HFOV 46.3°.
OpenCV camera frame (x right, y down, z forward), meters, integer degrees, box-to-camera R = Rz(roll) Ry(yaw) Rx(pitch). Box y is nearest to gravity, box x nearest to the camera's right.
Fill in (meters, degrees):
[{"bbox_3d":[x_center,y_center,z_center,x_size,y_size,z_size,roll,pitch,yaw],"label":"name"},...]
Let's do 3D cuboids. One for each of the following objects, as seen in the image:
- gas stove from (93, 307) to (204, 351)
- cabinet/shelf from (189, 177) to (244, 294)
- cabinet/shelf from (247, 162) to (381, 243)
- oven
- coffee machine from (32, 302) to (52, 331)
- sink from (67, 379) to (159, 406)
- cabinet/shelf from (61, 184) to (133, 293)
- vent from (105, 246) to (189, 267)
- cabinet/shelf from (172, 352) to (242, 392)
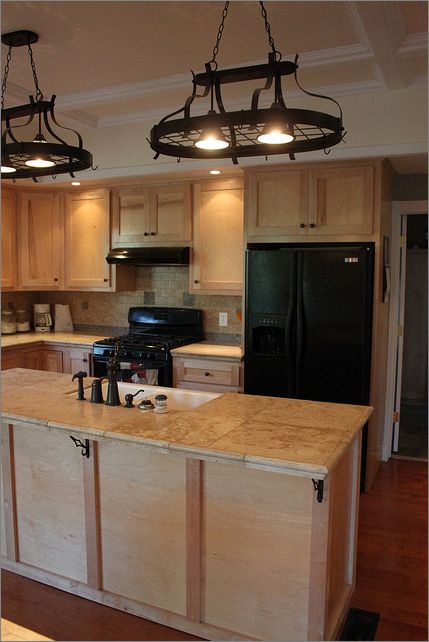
[{"bbox_3d":[-0.501,0.045,4.244,0.733,0.280,0.798,0,5,9],"label":"gas stove"},{"bbox_3d":[-0.065,-0.684,4.103,0.546,0.901,0.477,-3,14,-17],"label":"cabinet/shelf"},{"bbox_3d":[0.662,-0.816,3.442,0.849,0.495,0.314,2,15,18],"label":"cabinet/shelf"},{"bbox_3d":[-0.561,0.386,3.862,0.486,0.323,0.333,2,2,25],"label":"oven"},{"bbox_3d":[-1.717,-0.035,5.011,0.182,0.265,0.245,-2,5,-19],"label":"coffee machine"},{"bbox_3d":[-0.482,0.351,2.520,0.232,0.081,0.195,5,8,17],"label":"sink"},{"bbox_3d":[-1.226,-0.744,4.649,0.470,0.892,0.431,-3,12,-26],"label":"cabinet/shelf"},{"bbox_3d":[-0.566,-0.540,4.142,0.751,0.152,0.171,2,6,28],"label":"vent"},{"bbox_3d":[-0.056,0.390,3.687,0.406,0.390,0.278,1,3,21],"label":"cabinet/shelf"}]
